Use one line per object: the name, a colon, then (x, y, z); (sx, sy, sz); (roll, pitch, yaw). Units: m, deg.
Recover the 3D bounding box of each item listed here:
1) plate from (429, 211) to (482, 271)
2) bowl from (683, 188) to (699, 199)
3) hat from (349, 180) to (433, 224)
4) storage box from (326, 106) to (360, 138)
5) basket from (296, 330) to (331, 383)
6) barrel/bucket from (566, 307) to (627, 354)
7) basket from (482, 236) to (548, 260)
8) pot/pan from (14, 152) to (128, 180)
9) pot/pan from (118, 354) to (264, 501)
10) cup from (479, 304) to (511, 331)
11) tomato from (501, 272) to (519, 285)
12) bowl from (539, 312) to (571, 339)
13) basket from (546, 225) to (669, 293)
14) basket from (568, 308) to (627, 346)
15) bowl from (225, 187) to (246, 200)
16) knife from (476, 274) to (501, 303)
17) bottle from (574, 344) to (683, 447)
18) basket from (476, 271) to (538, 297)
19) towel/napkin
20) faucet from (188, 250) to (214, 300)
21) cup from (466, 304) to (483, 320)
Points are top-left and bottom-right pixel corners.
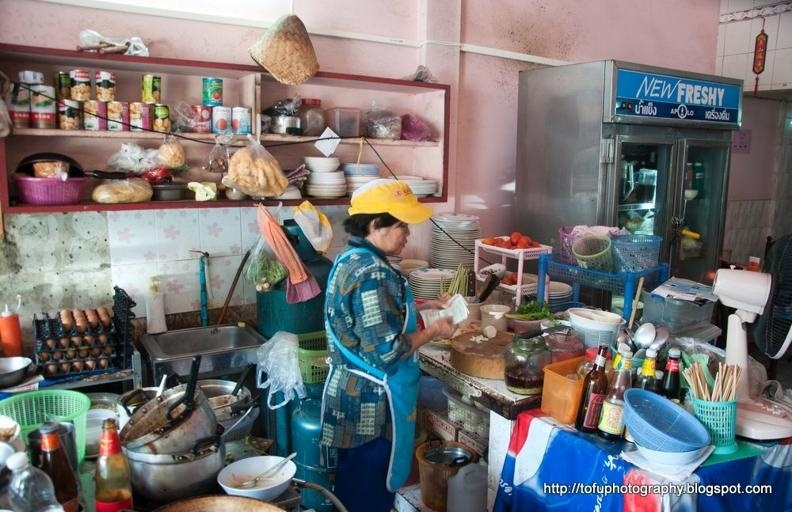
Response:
plate: (0.444, -0.102, 4.234); (0.450, 0.386, 0.424); (0, 5, -18)
bowl: (2.754, -0.577, 5.096); (0.136, 0.073, 0.129); (0, 4, 0)
hat: (-0.028, -0.288, 2.766); (0.348, 0.129, 0.230); (4, 10, 2)
storage box: (-0.377, -0.940, 3.933); (0.278, 0.233, 0.221); (-3, 10, -24)
basket: (-0.524, 0.644, 3.419); (0.227, 0.144, 0.318); (-2, 8, -17)
barrel/bucket: (1.079, 0.396, 2.911); (0.236, 0.194, 0.206); (1, 7, 13)
basket: (0.858, -0.064, 3.930); (0.306, 0.177, 0.499); (-8, 10, -38)
pot/pan: (-1.922, -0.524, 3.198); (0.435, 0.081, 0.249); (1, 1, -25)
pot/pan: (-0.857, 0.719, 2.363); (0.414, 0.438, 0.608); (-6, 1, 32)
cup: (0.587, 0.361, 3.251); (0.155, 0.106, 0.154); (0, 11, 0)
tomato: (0.815, 0.157, 3.910); (0.093, 0.034, 0.088); (-2, 18, 14)
bowl: (0.870, 0.383, 2.966); (0.132, 0.050, 0.130); (-2, 15, 1)
basket: (1.403, 0.044, 3.638); (0.474, 0.470, 0.641); (-4, 5, -41)
basket: (1.073, 0.362, 2.920); (0.224, 0.181, 0.200); (-2, 9, -10)
bowl: (-1.059, -0.405, 3.564); (0.127, 0.083, 0.081); (-3, 8, -8)
knife: (0.563, 0.215, 3.327); (0.084, 0.068, 0.266); (24, -19, -3)
bottle: (1.049, 0.645, 2.448); (0.461, 0.444, 0.159); (6, 7, 17)
basket: (0.825, 0.211, 3.881); (0.272, 0.071, 0.262); (-3, 5, -30)
towel/napkin: (-0.708, -0.016, 3.524); (0.397, 0.646, 0.179); (-1, 9, 3)
faucet: (-1.366, 0.134, 3.821); (0.158, 0.384, 0.052); (-5, 10, -22)
cup: (0.477, 0.338, 3.316); (0.103, 0.069, 0.097); (-1, 8, 0)
